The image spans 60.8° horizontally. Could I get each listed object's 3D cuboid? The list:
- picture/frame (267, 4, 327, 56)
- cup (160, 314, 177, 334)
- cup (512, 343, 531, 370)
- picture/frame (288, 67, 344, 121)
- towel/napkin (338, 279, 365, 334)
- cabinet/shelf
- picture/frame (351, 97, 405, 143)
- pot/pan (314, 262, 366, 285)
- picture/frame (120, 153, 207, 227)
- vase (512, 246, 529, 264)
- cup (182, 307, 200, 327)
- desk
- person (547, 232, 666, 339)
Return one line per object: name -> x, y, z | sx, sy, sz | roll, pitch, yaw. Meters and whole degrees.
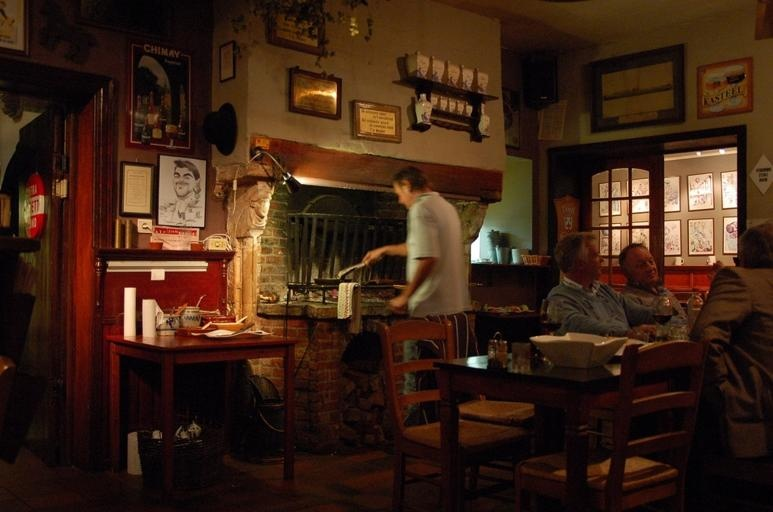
picture/frame -> -0.875, -2.171, 6.323 | 0.583, 0.338, 0.082 | 3, -2, -34
cup -> -1.819, 0.574, 5.550 | 0.142, 0.135, 0.137 | 0, -6, 0
cup -> 0.822, 0.615, 4.016 | 0.144, 0.155, 0.133 | -1, -2, 0
picture/frame -> -0.705, -1.580, 6.457 | 0.585, 0.464, 0.079 | 2, -4, -37
towel/napkin -> -0.351, 0.499, 6.222 | 0.220, 0.494, 0.193 | 0, 2, 7
cabinet/shelf -> 0.760, -1.618, 7.467 | 1.231, 0.605, 0.152 | -2, 3, -37
picture/frame -> -0.109, -1.405, 6.851 | 0.526, 0.356, 0.070 | 3, -9, -38
pot/pan -> -0.448, 0.200, 6.328 | 0.392, 0.058, 0.238 | -22, -6, 17
picture/frame -> -2.080, -0.600, 6.097 | 0.718, 0.551, 0.056 | 2, -2, -42
vase -> 1.790, 0.015, 8.865 | 0.229, 0.198, 0.212 | 0, 2, 13
cup -> -1.653, 0.532, 5.622 | 0.146, 0.146, 0.148 | -1, -5, 0
desk -> -1.523, 1.039, 5.526 | 1.328, 1.222, 1.302 | 3, -5, -38
person -> 1.672, 0.320, 5.235 | 0.738, 0.781, 1.277 | -11, -8, 28
